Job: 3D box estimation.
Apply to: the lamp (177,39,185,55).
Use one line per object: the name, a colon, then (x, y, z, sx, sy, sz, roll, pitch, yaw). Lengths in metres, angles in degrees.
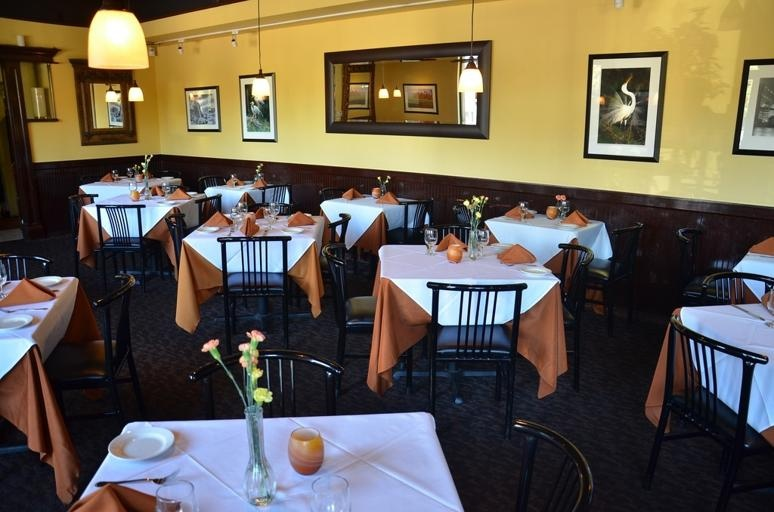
lamp: (-3.840, -3.882, 10.246, 0.146, 0.247, 0.794, -6, 15, -19)

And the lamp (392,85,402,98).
lamp: (0.159, -2.338, 7.837, 0.133, 0.148, 0.138, 5, 12, 31)

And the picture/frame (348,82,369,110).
picture/frame: (-0.407, -2.388, 8.208, 0.379, 0.373, 0.039, 8, 13, 29)

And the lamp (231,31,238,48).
lamp: (-2.624, -3.717, 9.489, 0.118, 0.233, 0.437, -5, 14, -14)

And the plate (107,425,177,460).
plate: (-1.259, 0.967, 2.849, 0.314, 0.090, 0.201, 1, 14, 8)

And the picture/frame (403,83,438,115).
picture/frame: (0.489, -2.188, 7.667, 0.433, 0.341, 0.017, 9, 20, 29)

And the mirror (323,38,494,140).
mirror: (0.214, -2.292, 7.803, 2.688, 1.292, 0.080, 7, 16, 32)

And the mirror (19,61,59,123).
mirror: (-5.848, -2.746, 9.284, 0.047, 0.964, 0.483, 8, 17, 35)

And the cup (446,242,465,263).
cup: (0.595, -0.019, 4.787, 0.148, 0.148, 0.153, -1, 8, 0)

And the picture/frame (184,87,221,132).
picture/frame: (-3.453, -2.727, 10.370, 0.781, 0.829, 0.008, 10, 26, 38)

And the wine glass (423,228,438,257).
wine glass: (0.403, -0.135, 4.942, 0.101, 0.254, 0.236, 0, 14, 4)

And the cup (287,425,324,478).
cup: (-0.406, 0.998, 2.789, 0.177, 0.211, 0.174, 1, 9, 0)

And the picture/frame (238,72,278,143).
picture/frame: (-2.132, -2.516, 9.255, 1.059, 1.459, 0.056, 8, 11, 33)

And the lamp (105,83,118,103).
lamp: (-4.907, -2.897, 9.827, 0.250, 0.311, 1.070, -8, 15, -25)
